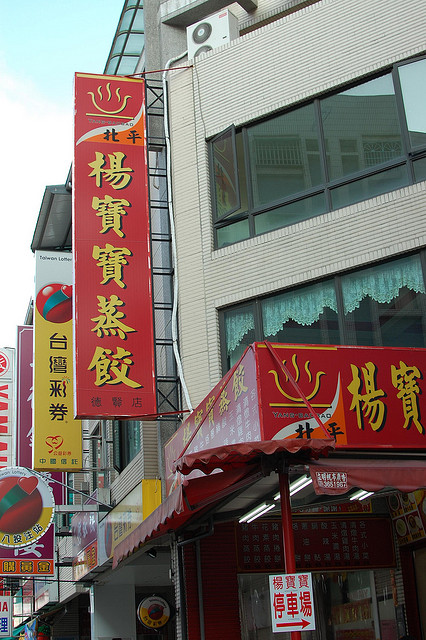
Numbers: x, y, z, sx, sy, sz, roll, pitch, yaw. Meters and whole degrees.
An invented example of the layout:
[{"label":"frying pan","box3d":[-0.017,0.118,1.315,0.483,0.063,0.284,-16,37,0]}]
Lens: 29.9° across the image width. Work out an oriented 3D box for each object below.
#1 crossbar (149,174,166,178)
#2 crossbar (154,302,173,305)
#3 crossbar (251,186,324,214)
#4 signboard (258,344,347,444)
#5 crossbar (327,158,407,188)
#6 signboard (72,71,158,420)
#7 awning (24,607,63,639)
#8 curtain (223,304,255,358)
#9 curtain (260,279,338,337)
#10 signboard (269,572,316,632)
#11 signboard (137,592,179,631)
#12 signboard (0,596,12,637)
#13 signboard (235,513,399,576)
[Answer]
[{"label":"crossbar","box3d":[-0.998,-2.645,14.427,0.412,0.055,0.082,8,-1,38]},{"label":"crossbar","box3d":[-0.822,-0.295,13.650,0.263,0.050,0.035,-2,-38,7]},{"label":"crossbar","box3d":[1.135,-1.765,11.663,1.507,0.050,0.116,-15,-28,36]},{"label":"signboard","box3d":[0.825,0.741,7.612,0.928,1.022,0.039,11,-36,-20]},{"label":"crossbar","box3d":[2.085,-2.026,10.953,1.193,0.069,0.019,-16,-16,34]},{"label":"signboard","box3d":[-1.622,-1.325,12.448,1.255,5.250,0.429,1,-10,-20]},{"label":"awning","box3d":[-5.251,9.342,24.421,0.695,1.022,3.506,-2,-14,-19]},{"label":"curtain","box3d":[0.388,0.186,11.740,0.040,0.669,0.729,14,-16,-33]},{"label":"curtain","box3d":[1.229,-0.196,11.269,1.274,0.572,0.055,-16,21,-22]},{"label":"signboard","box3d":[0.670,2.388,6.740,0.381,0.468,0.213,-6,-14,-4]},{"label":"signboard","box3d":[-1.132,5.857,15.991,0.747,0.631,0.409,-3,-14,-15]},{"label":"signboard","box3d":[-6.182,8.873,23.849,0.335,1.208,1.060,-4,-14,-14]},{"label":"signboard","box3d":[1.331,3.008,10.616,2.059,0.774,0.071,2,-25,-9]}]
